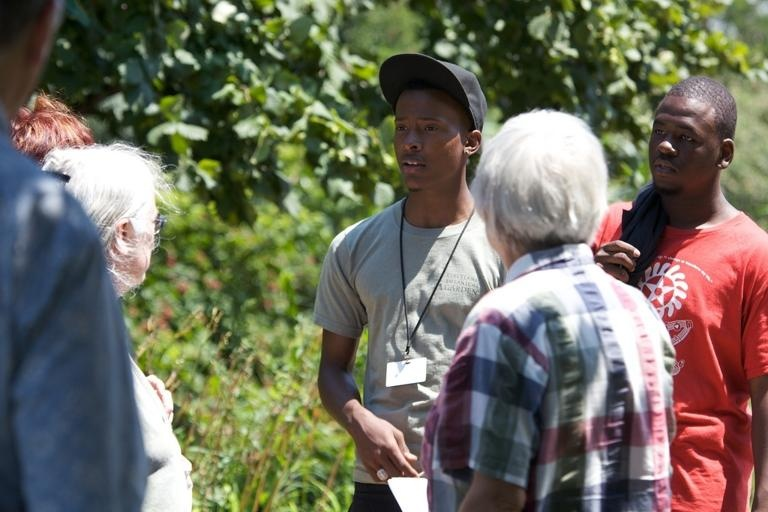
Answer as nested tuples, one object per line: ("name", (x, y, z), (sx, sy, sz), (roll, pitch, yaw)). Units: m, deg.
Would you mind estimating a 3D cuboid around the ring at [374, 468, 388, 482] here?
("ring", (-0.021, 1.059, 6.554), (0.051, 0.065, 0.024), (-29, -25, 1))
